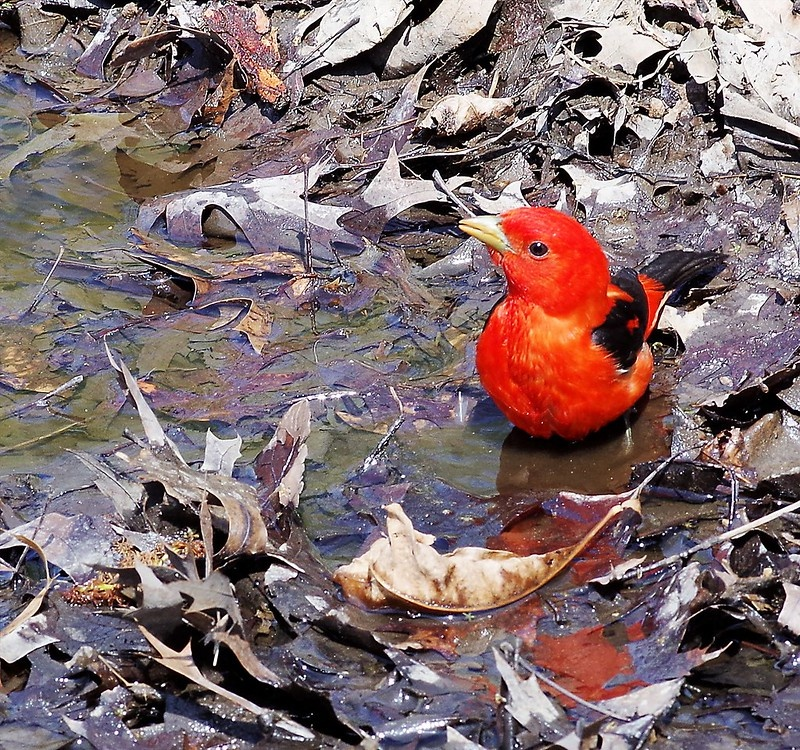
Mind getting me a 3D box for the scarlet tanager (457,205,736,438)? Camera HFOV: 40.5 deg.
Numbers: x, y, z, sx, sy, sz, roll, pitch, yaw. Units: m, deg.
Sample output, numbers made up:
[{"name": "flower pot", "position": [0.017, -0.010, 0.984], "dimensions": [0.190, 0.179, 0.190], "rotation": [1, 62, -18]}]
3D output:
[{"name": "scarlet tanager", "position": [0.750, -0.202, 4.938], "dimensions": [0.866, 1.063, 0.604], "rotation": [2, 45, 0]}]
